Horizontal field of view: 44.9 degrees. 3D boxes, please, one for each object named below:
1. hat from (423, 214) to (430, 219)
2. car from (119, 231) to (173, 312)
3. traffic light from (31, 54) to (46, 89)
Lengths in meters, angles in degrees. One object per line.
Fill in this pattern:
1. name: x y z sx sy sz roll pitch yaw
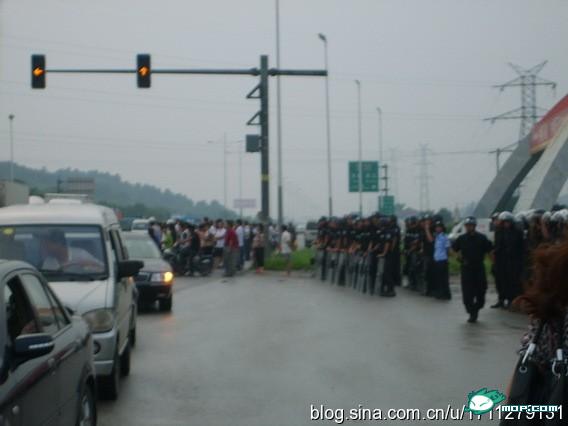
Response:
1. hat: 3.392 0.090 16.343 0.116 0.055 0.141 1 12 22
2. car: -3.032 1.305 15.687 1.102 1.198 2.512 0 -5 -6
3. traffic light: -6.496 -3.773 18.267 0.364 0.887 0.661 -2 2 -21
